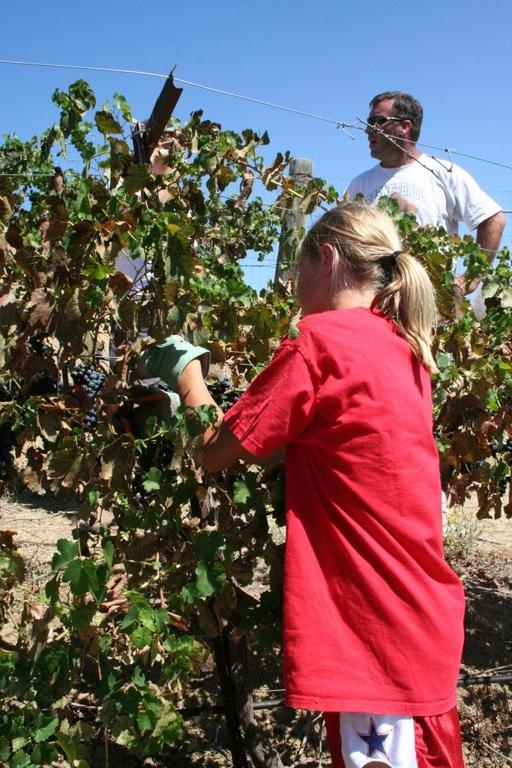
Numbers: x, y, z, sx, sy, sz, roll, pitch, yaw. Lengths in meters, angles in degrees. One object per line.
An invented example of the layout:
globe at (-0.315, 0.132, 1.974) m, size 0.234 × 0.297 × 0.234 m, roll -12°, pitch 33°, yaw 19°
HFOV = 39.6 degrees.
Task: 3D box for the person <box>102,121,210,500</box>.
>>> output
person at (-0.290, -0.097, 1.821) m, size 0.345 × 1.024 × 0.399 m, roll 3°, pitch 15°, yaw -3°

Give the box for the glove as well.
glove at (-0.202, -0.047, 1.660) m, size 0.133 × 0.119 × 0.072 m, roll 9°, pitch -41°, yaw 35°
